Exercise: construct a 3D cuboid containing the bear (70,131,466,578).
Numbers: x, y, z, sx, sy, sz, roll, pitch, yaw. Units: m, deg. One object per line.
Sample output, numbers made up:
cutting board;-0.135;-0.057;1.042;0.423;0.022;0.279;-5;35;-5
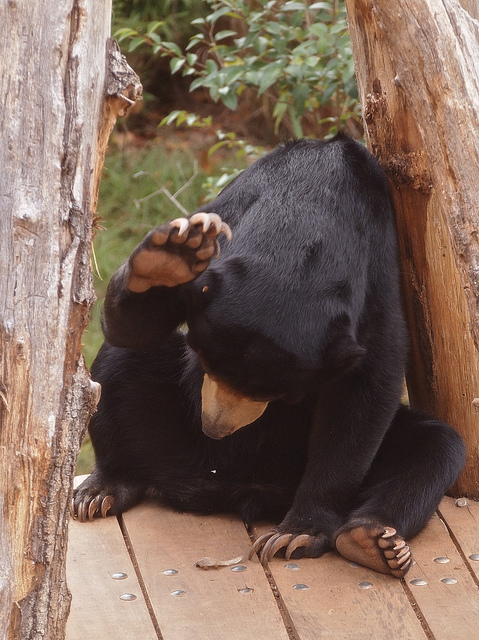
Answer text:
bear;-0.052;0.100;2.320;1.099;1.067;1.333;7;0;9
